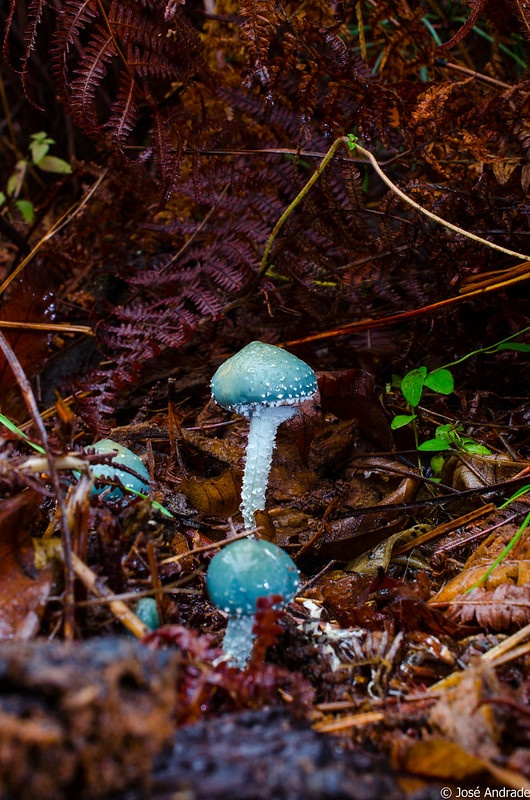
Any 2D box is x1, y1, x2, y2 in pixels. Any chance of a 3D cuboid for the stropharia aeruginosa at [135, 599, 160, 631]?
[{"bbox_3d":[-0.299,0.554,1.925,0.060,0.030,0.075,7,71,-45],"label":"stropharia aeruginosa"}]
